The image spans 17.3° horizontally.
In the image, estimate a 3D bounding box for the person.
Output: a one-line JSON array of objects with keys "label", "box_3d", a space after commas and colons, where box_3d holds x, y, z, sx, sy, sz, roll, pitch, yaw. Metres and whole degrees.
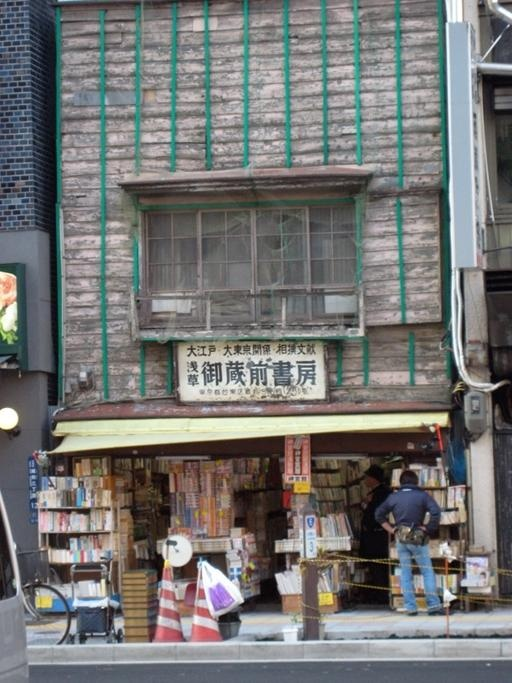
[{"label": "person", "box_3d": [1.816, 2.378, 20.062, 0.677, 1.815, 0.531, -3, 5, 11]}]
